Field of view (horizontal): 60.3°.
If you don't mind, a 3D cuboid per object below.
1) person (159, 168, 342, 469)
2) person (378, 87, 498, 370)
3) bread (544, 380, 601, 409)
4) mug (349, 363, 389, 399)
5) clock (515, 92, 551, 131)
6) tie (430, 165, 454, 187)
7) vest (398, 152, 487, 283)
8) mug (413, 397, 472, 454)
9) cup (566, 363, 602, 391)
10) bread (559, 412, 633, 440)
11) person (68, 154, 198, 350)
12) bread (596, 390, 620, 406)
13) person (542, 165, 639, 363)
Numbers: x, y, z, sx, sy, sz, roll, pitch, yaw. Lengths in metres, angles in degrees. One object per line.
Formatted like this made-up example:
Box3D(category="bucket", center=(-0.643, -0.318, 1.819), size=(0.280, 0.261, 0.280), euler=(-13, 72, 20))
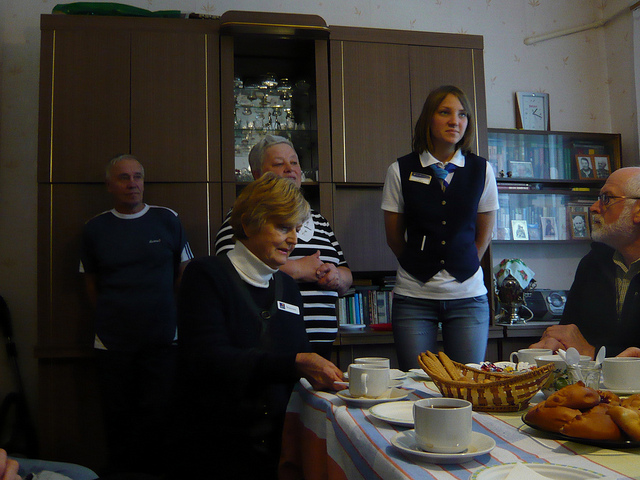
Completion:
Box3D(category="person", center=(-0.245, 0.241, 1.807), size=(0.533, 0.919, 0.425), euler=(-2, 5, -12))
Box3D(category="person", center=(0.563, -0.077, 2.539), size=(0.549, 1.276, 0.477), euler=(-1, 5, 6))
Box3D(category="bread", center=(0.631, 0.390, 1.376), size=(0.132, 0.060, 0.052), euler=(1, 6, 21))
Box3D(category="mug", center=(0.144, 0.408, 1.587), size=(0.066, 0.083, 0.116), euler=(-1, -6, 2))
Box3D(category="clock", center=(1.717, -1.051, 4.470), size=(0.281, 0.434, 0.058), euler=(3, -13, -13))
Box3D(category="tie", center=(0.575, -0.314, 2.599), size=(0.089, 0.094, 0.027), euler=(-36, 0, -13))
Box3D(category="vest", center=(0.582, -0.131, 2.657), size=(0.391, 0.683, 0.333), euler=(1, -2, 29))
Box3D(category="mug", center=(0.285, 0.457, 1.351), size=(0.152, 0.124, 0.125), euler=(-1, -4, 25))
Box3D(category="cup", center=(0.725, 0.379, 1.521), size=(0.065, 0.073, 0.079), euler=(1, -9, -17))
Box3D(category="bread", center=(0.655, 0.451, 1.321), size=(0.105, 0.039, 0.066), euler=(-1, -2, 13))
Box3D(category="person", center=(-1.076, 0.083, 3.038), size=(0.721, 1.429, 0.427), euler=(-6, -20, -6))
Box3D(category="bread", center=(0.730, 0.394, 1.399), size=(0.039, 0.018, 0.040), euler=(1, -2, -30))
Box3D(category="person", center=(0.953, 0.090, 1.927), size=(0.317, 0.680, 0.941), euler=(1, 7, 23))
